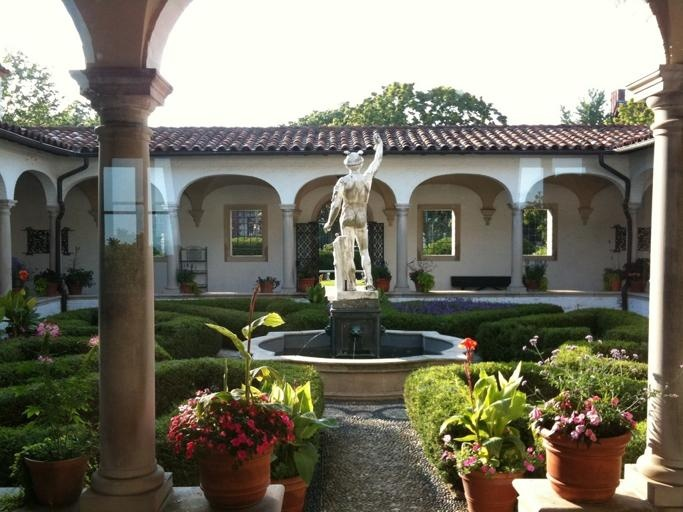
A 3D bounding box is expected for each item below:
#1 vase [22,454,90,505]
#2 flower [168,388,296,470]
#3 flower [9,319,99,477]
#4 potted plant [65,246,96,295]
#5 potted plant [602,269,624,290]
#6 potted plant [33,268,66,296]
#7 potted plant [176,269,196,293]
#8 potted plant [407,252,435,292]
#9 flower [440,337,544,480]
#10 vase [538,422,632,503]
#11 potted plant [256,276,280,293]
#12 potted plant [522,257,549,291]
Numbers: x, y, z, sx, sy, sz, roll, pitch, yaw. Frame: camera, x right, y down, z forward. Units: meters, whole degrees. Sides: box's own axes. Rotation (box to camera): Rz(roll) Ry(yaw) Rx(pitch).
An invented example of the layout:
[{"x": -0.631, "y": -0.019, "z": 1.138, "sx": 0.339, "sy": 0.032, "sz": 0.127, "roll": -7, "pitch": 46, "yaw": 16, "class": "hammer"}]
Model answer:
[{"x": -1.835, "y": 1.445, "z": 4.049, "sx": 0.308, "sy": 0.245, "sz": 0.311, "roll": -2, "pitch": -7, "yaw": 10, "class": "vase"}, {"x": -0.616, "y": 1.062, "z": 4.327, "sx": 0.689, "sy": 0.389, "sz": 0.694, "roll": -1, "pitch": -14, "yaw": 13, "class": "flower"}, {"x": -2.344, "y": 1.044, "z": 5.206, "sx": 0.620, "sy": 1.046, "sz": 2.630, "roll": -2, "pitch": 8, "yaw": -21, "class": "flower"}, {"x": -6.778, "y": 0.467, "z": 16.110, "sx": 0.740, "sy": 0.917, "sz": 0.701, "roll": -2, "pitch": -5, "yaw": -6, "class": "potted plant"}, {"x": 7.210, "y": 0.628, "z": 16.508, "sx": 0.547, "sy": 0.589, "sz": 0.547, "roll": 1, "pitch": -5, "yaw": 3, "class": "potted plant"}, {"x": -7.153, "y": 0.638, "z": 15.356, "sx": 0.653, "sy": 0.653, "sz": 0.673, "roll": 0, "pitch": 0, "yaw": 0, "class": "potted plant"}, {"x": -3.941, "y": 0.671, "z": 16.365, "sx": 0.488, "sy": 0.710, "sz": 0.628, "roll": 1, "pitch": -5, "yaw": 7, "class": "potted plant"}, {"x": 2.220, "y": 0.516, "z": 16.938, "sx": 0.739, "sy": 0.879, "sz": 0.731, "roll": 1, "pitch": 9, "yaw": -26, "class": "potted plant"}, {"x": 1.150, "y": 1.158, "z": 4.881, "sx": 0.555, "sy": 1.057, "sz": 0.612, "roll": -5, "pitch": -1, "yaw": -4, "class": "flower"}, {"x": 1.609, "y": 1.339, "z": 4.136, "sx": 0.458, "sy": 0.358, "sz": 0.462, "roll": 1, "pitch": 0, "yaw": -29, "class": "vase"}, {"x": -1.865, "y": 0.730, "z": 15.997, "sx": 0.597, "sy": 0.481, "sz": 0.659, "roll": -2, "pitch": 4, "yaw": -13, "class": "potted plant"}, {"x": 5.126, "y": 0.564, "z": 16.625, "sx": 0.584, "sy": 0.668, "sz": 0.540, "roll": 10, "pitch": -13, "yaw": -42, "class": "potted plant"}]
